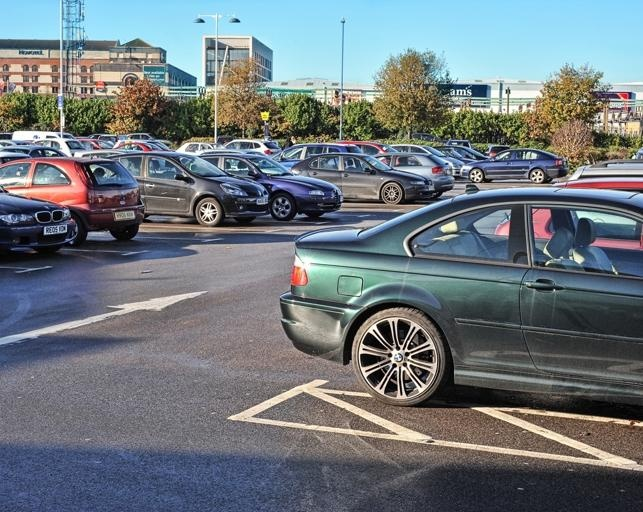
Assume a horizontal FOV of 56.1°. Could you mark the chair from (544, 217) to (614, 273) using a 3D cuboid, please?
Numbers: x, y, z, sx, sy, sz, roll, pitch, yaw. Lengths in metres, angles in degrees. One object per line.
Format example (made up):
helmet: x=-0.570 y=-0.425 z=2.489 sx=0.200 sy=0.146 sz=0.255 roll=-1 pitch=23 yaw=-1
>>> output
chair: x=1.914 y=-0.053 z=4.493 sx=0.584 sy=0.394 sz=0.295 roll=5 pitch=26 yaw=18
